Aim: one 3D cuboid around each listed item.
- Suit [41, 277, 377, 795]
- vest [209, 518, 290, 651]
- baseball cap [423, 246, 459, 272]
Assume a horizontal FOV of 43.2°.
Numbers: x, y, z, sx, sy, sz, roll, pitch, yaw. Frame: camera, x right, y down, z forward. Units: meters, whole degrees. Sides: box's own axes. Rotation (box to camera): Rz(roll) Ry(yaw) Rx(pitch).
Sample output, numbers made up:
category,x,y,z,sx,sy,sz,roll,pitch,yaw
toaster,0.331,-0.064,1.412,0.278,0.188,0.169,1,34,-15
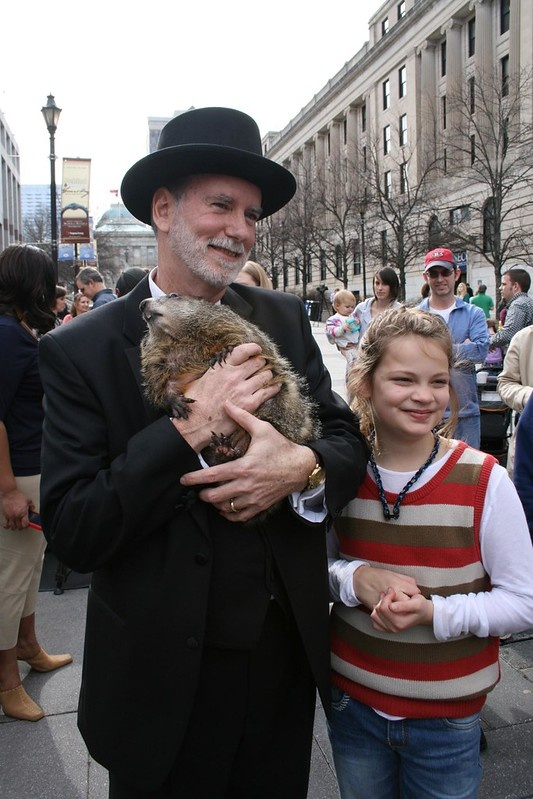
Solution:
category,x,y,z,sx,sy,sz,roll,pitch,yaw
Suit,-0.214,0.459,2.328,1.029,1.621,0.673,-7,9,-24
vest,-0.058,0.562,2.116,0.235,0.385,0.103,4,-13,-40
baseball cap,1.787,-1.448,6.903,0.260,0.207,0.407,-1,-1,25
